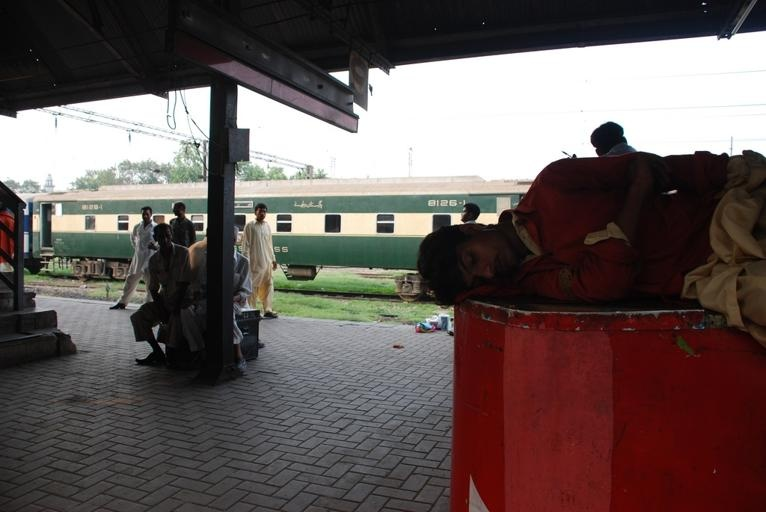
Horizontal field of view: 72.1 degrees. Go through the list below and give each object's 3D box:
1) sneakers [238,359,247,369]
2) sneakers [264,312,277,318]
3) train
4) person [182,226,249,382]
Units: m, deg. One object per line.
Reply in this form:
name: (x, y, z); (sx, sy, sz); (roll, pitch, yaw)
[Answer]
sneakers: (-2.052, 1.598, 7.714); (0.117, 0.111, 0.118); (7, 8, 44)
sneakers: (-2.527, 1.335, 11.917); (0.306, 0.128, 0.111); (-2, 3, -1)
train: (-4.390, -0.580, 21.693); (23.025, 4.374, 3.858); (1, -13, 14)
person: (-2.423, 0.628, 7.631); (0.960, 2.067, 1.034); (-1, 6, -13)
